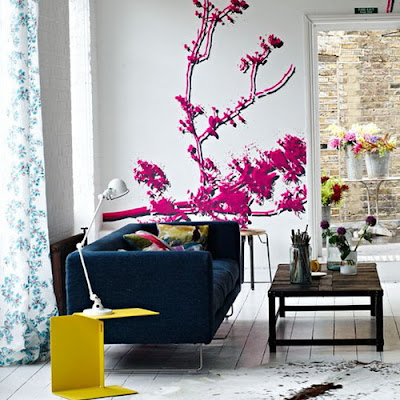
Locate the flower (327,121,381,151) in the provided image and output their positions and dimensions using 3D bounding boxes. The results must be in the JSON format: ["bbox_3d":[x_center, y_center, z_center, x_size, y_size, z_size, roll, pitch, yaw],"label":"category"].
[{"bbox_3d":[2.284,-0.964,6.883,0.602,0.296,0.531,-2,-11,-22],"label":"flower"}]

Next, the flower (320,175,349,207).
[{"bbox_3d":[1.830,-0.158,6.307,0.471,0.456,0.489,-3,9,26],"label":"flower"}]

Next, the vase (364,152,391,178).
[{"bbox_3d":[2.613,-0.520,6.780,0.405,0.385,0.392,-1,-1,4],"label":"vase"}]

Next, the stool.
[{"bbox_3d":[0.615,0.622,5.005,0.326,0.556,0.903,-3,-1,8],"label":"stool"}]

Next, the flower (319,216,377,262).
[{"bbox_3d":[1.567,0.411,4.830,0.568,0.513,0.622,3,-2,14],"label":"flower"}]

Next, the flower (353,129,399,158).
[{"bbox_3d":[2.545,-0.831,6.724,0.459,0.199,0.458,-9,3,-22],"label":"flower"}]

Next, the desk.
[{"bbox_3d":[2.673,0.107,7.046,1.046,0.873,0.969,-2,6,-7],"label":"desk"}]
